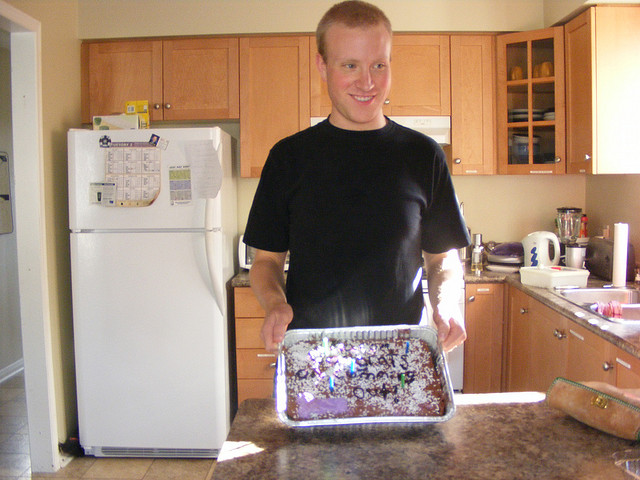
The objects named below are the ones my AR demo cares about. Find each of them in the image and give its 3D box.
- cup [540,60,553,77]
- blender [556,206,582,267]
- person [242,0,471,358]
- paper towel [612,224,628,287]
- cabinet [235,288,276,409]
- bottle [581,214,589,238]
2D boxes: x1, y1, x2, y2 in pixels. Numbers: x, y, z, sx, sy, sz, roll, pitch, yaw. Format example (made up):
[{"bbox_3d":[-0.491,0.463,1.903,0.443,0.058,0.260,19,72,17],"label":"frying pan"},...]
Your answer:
[{"bbox_3d":[1.412,-1.068,3.628,0.085,0.094,0.088,-1,4,0],"label":"cup"},{"bbox_3d":[1.601,-0.050,3.751,0.139,0.306,0.135,2,8,23],"label":"blender"},{"bbox_3d":[0.152,-0.235,2.045,0.848,1.212,0.441,-2,7,-9],"label":"person"},{"bbox_3d":[1.660,0.087,3.214,0.077,0.351,0.078,2,1,37],"label":"paper towel"},{"bbox_3d":[-0.385,0.659,3.555,0.271,0.715,0.176,1,7,17],"label":"cabinet"},{"bbox_3d":[1.736,-0.097,3.824,0.038,0.149,0.375,2,9,25],"label":"bottle"}]
